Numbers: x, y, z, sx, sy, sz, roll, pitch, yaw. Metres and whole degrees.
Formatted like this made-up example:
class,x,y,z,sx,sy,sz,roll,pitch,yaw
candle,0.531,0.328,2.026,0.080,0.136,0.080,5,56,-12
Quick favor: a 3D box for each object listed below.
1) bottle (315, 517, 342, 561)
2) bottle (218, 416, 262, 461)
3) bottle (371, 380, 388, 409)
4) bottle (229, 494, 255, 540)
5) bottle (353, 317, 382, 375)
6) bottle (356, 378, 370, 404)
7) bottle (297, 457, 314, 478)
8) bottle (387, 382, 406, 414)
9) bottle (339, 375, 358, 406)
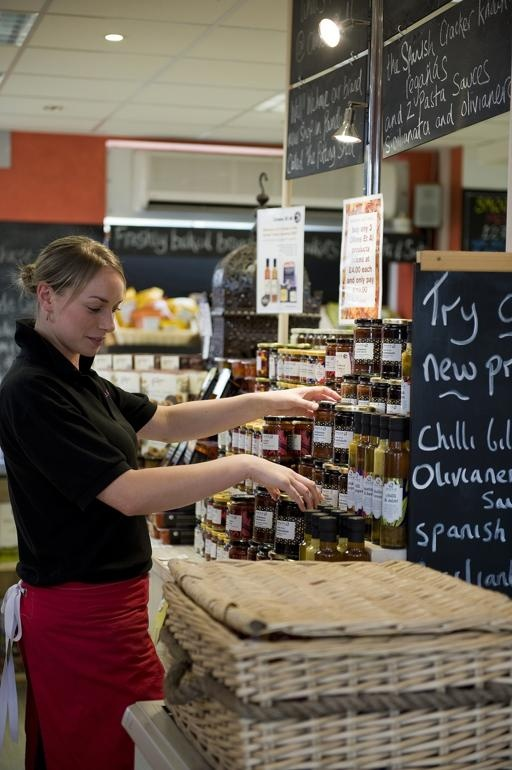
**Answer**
class,x,y,z,sx,sy,sz,roll,pitch,yaw
bottle,0.167,0.337,1.520,0.061,0.109,0.097,7,5,9
bottle,-0.046,0.198,2.465,0.118,0.168,0.183,1,0,0
bottle,0.337,0.028,1.901,0.023,0.057,0.084,5,5,-19
bottle,-0.045,0.413,2.183,0.120,0.121,0.115,1,-2,1
bottle,0.315,-0.104,1.952,0.044,0.165,0.114,3,6,-41
bottle,0.309,0.017,1.970,0.016,0.082,0.060,5,5,-20
bottle,0.150,0.244,2.029,0.057,0.088,0.056,1,-2,0
bottle,0.371,0.034,1.834,0.028,0.061,0.073,6,4,-10
bottle,0.276,0.017,2.032,0.077,0.117,0.075,0,0,0
